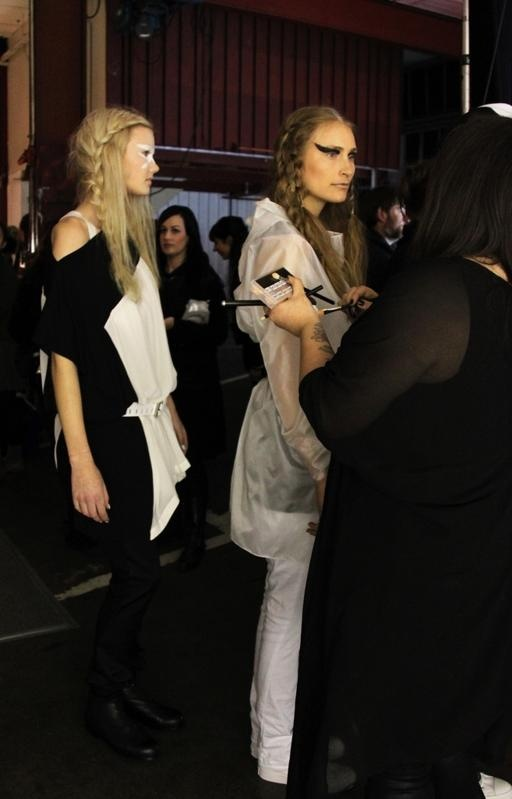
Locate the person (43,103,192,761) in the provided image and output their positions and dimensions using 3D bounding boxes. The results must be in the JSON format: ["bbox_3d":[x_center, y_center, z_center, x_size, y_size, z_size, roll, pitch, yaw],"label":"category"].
[{"bbox_3d":[-0.359,0.108,1.776,0.295,1.691,0.347,2,8,4],"label":"person"}]

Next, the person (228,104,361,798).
[{"bbox_3d":[0.193,0.153,1.741,0.484,1.576,0.419,-1,10,-1],"label":"person"}]
